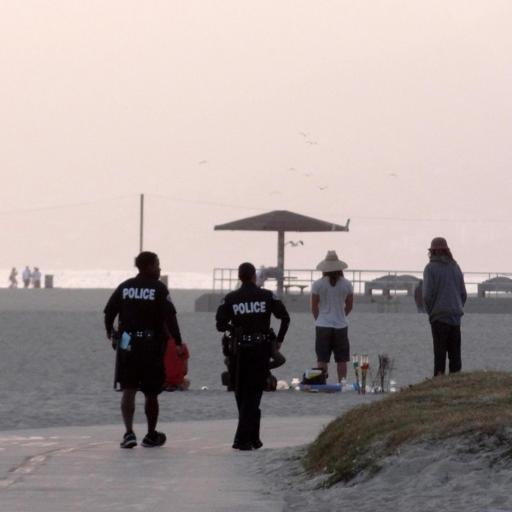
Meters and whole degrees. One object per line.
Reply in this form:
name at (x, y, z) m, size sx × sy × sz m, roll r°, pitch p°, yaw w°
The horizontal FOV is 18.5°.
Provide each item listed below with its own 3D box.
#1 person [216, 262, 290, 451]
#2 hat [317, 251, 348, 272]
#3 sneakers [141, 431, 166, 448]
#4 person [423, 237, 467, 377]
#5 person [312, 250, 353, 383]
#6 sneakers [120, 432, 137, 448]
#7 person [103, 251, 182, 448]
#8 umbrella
person at (-0.023, 0.733, 11.741) m, size 0.500 × 1.413 × 0.300 m, roll 2°, pitch -4°, yaw -38°
hat at (0.706, 0.042, 14.515) m, size 0.336 × 0.217 × 0.399 m, roll -1°, pitch 6°, yaw 4°
sneakers at (-0.756, 1.363, 11.732) m, size 0.197 × 0.100 × 0.079 m, roll -7°, pitch 17°, yaw -20°
person at (1.588, 0.397, 13.198) m, size 0.358 × 1.184 × 0.538 m, roll -1°, pitch -3°, yaw 8°
person at (0.724, 0.526, 14.723) m, size 0.377 × 1.210 × 0.522 m, roll -1°, pitch -3°, yaw 4°
sneakers at (-0.937, 1.363, 11.602) m, size 0.063 × 0.084 × 0.172 m, roll -1°, pitch -2°, yaw -16°
person at (-0.838, 0.771, 11.702) m, size 0.580 × 1.306 × 0.339 m, roll -1°, pitch -3°, yaw -1°
umbrella at (0.393, -0.027, 22.291) m, size 1.574 × 1.075 × 1.514 m, roll 1°, pitch -1°, yaw -17°
